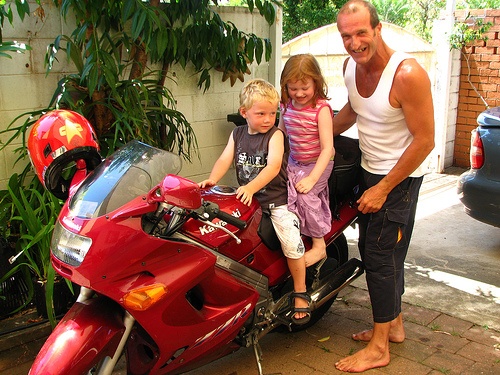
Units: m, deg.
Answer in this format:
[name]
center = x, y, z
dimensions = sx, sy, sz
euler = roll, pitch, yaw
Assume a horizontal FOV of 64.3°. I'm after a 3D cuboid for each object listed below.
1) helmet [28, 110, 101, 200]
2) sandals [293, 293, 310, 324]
[helmet]
center = -1.100, -0.231, 2.351
dimensions = 0.347, 0.463, 0.467
euler = -13, 61, -43
[sandals]
center = 0.349, 0.832, 2.657
dimensions = 0.071, 0.234, 0.083
euler = 0, 36, 5
